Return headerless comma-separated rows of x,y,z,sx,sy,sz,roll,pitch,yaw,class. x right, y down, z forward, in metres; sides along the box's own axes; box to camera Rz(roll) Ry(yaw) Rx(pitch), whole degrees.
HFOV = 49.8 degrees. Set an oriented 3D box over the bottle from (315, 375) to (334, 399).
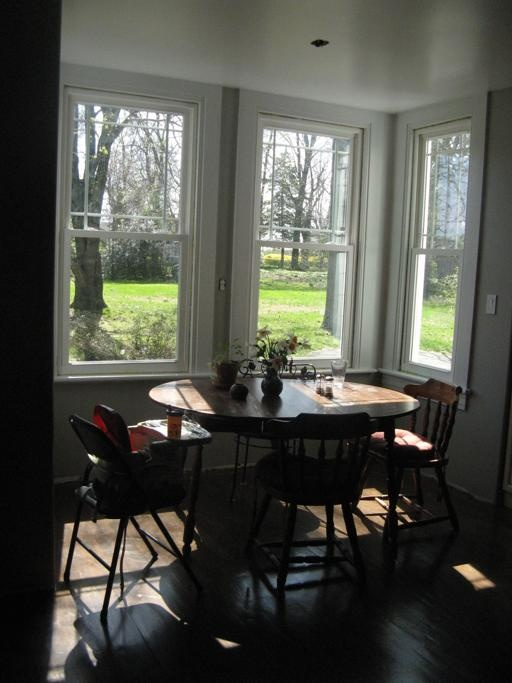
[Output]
0.346,0.255,2.989,0.099,0.132,0.098,1,0,0,bottle
